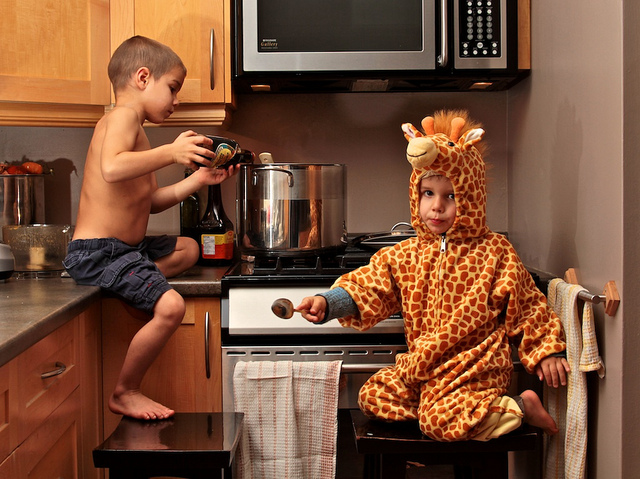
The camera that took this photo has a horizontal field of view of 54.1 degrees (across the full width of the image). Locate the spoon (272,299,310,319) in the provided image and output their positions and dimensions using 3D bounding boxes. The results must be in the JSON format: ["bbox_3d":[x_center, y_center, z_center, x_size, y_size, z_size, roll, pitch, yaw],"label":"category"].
[{"bbox_3d":[-0.067,0.160,1.469,0.084,0.045,0.034,2,-4,-35],"label":"spoon"}]

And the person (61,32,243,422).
[{"bbox_3d":[-0.523,-0.081,1.926,0.519,1.156,0.630,-4,6,-23],"label":"person"}]

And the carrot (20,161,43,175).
[{"bbox_3d":[-1.008,-0.249,2.195,0.057,0.034,0.046,22,1,1],"label":"carrot"}]

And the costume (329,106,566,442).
[{"bbox_3d":[0.343,-0.006,1.646,0.438,0.901,0.495,0,0,10],"label":"costume"}]
